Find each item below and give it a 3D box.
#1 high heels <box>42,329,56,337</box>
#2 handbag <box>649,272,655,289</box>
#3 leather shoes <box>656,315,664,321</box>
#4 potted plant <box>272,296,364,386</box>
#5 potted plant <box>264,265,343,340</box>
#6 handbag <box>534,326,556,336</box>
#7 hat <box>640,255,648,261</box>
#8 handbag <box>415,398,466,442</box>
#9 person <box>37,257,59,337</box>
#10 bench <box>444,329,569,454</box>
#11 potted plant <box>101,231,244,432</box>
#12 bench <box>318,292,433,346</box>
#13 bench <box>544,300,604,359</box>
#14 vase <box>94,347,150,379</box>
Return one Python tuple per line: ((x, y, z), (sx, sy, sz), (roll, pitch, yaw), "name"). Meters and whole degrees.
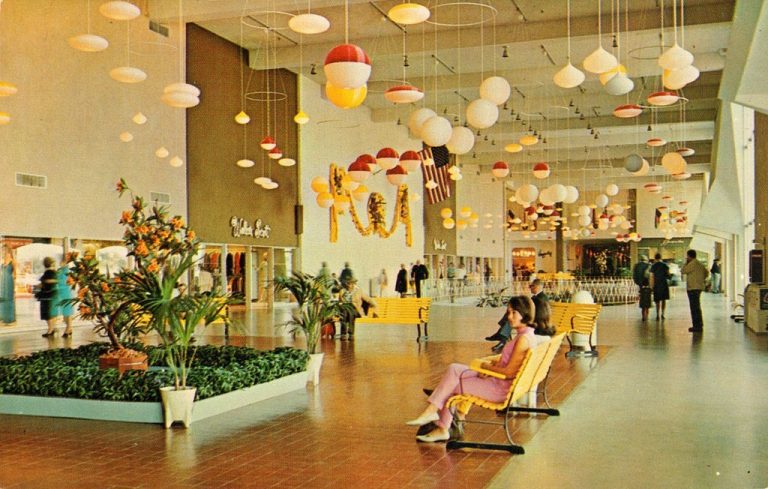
((-8.510, 2.232, 15.726), (0.487, 0.144, 0.179), (-4, -4, 43), "high heels")
((8.832, 1.173, 20.495), (0.226, 0.208, 0.770), (-1, 8, 26), "handbag")
((8.613, 2.274, 19.338), (0.176, 0.216, 0.543), (-2, -11, 16), "leather shoes")
((-1.175, 1.651, 10.788), (1.307, 1.469, 1.308), (-10, -13, 41), "potted plant")
((-1.391, 1.096, 10.663), (0.970, 1.072, 0.836), (0, 0, 0), "potted plant")
((2.419, 1.300, 9.366), (0.186, 0.076, 0.182), (-3, -3, 40), "handbag")
((15.365, 0.768, 36.698), (0.347, 0.614, 0.263), (-5, 0, 33), "hat")
((0.730, 2.338, 7.938), (0.757, 0.588, 0.300), (3, -9, 9), "handbag")
((-9.022, 1.292, 16.695), (0.766, 1.911, 0.422), (-3, -1, 41), "person")
((1.793, 1.989, 8.717), (1.049, 1.243, 2.529), (0, -4, 23), "bench")
((-3.174, 1.238, 8.755), (1.831, 2.612, 1.348), (-10, -5, 16), "potted plant")
((0.286, 1.881, 15.863), (1.940, 0.924, 0.719), (-3, -13, 41), "bench")
((3.646, 1.739, 13.353), (0.836, 1.020, 1.992), (3, -2, -22), "bench")
((-4.253, 1.864, 10.074), (0.582, 0.444, 0.545), (-2, -4, 32), "vase")
